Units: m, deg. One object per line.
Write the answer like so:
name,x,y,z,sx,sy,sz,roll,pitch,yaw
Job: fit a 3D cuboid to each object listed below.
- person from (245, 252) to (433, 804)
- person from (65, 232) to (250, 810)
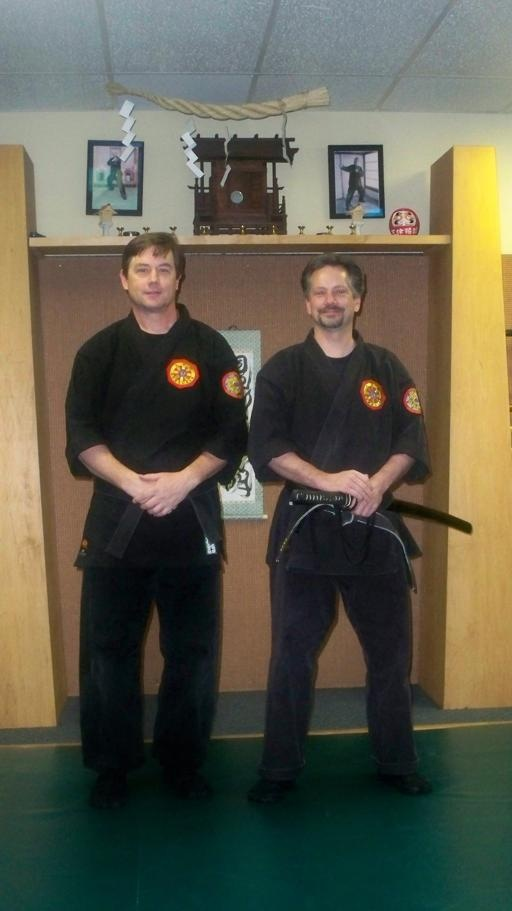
person,0.225,0.132,1.813,0.489,1.305,0.457,0,5,0
person,-0.232,0.108,1.761,0.466,1.334,0.378,-2,5,-16
